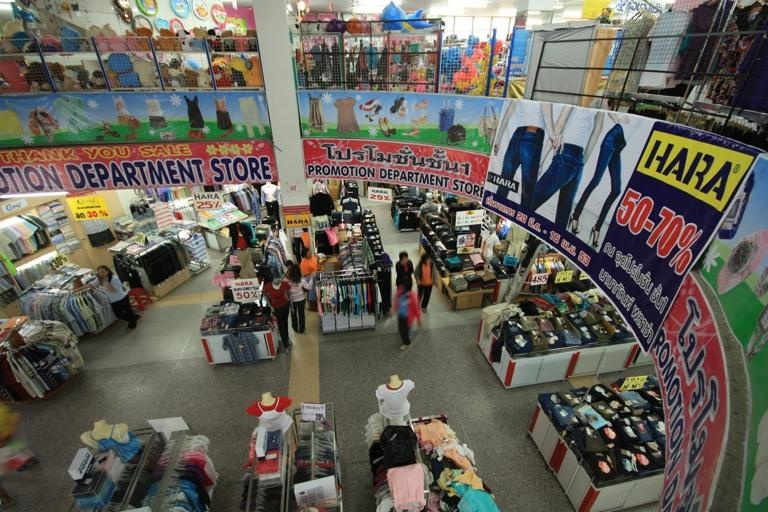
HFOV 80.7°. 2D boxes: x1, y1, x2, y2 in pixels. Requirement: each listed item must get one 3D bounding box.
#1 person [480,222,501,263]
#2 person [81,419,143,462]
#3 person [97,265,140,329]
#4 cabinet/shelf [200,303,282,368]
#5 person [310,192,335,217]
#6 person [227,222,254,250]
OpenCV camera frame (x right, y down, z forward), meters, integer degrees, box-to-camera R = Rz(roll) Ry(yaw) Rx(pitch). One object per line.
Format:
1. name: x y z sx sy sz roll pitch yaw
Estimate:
1. person: 2.742 -0.354 11.563 0.348 1.064 0.548 6 32 -8
2. person: -4.097 2.747 6.876 0.803 0.348 0.626 20 20 -9
3. person: -6.210 0.926 10.444 0.510 1.657 0.367 -5 26 -2
4. cabinet/shelf: -3.114 1.718 10.140 1.754 1.207 1.226 -2 22 -6
5. person: -1.799 -1.497 13.015 0.897 0.873 0.490 1 36 -4
6. person: -3.628 -0.561 11.351 0.598 0.844 0.299 -7 10 -11
